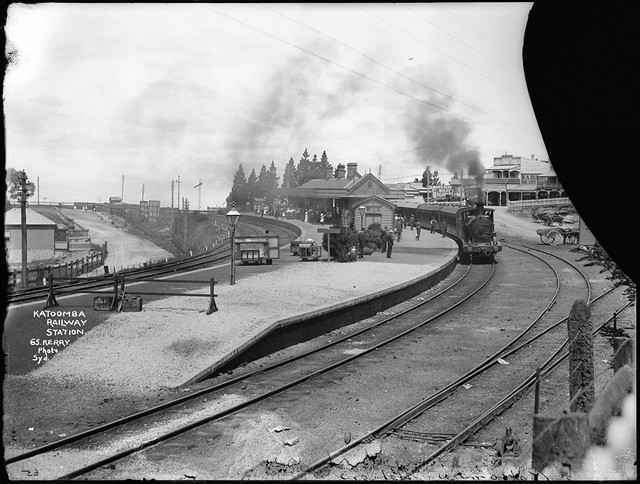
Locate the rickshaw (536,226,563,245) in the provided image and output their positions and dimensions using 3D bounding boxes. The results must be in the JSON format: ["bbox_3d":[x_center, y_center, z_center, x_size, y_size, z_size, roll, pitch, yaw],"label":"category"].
[{"bbox_3d":[18.800,-0.481,51.325,2.095,1.910,1.605,2,3,-7],"label":"rickshaw"}]
